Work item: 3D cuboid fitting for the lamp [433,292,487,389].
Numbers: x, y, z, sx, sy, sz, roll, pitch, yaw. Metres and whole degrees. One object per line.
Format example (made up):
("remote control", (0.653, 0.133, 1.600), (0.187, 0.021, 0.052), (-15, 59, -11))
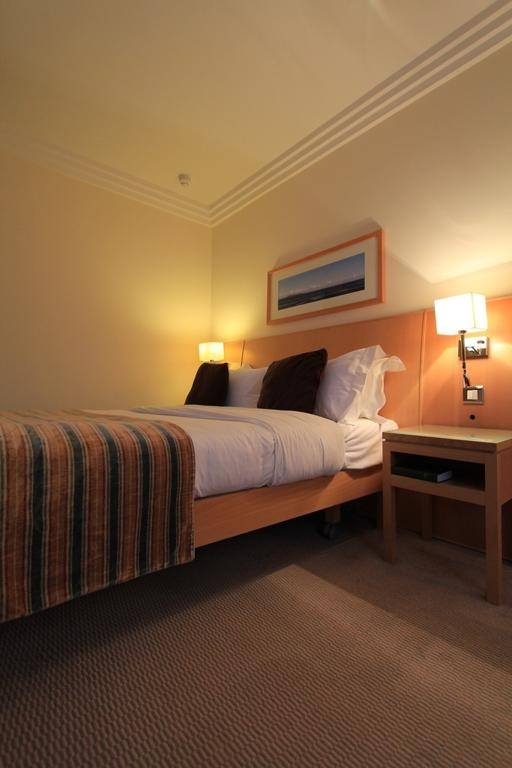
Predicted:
("lamp", (0.875, -0.179, 2.270), (0.210, 0.404, 0.253), (4, 7, 29))

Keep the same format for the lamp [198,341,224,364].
("lamp", (-0.341, -0.244, 4.040), (0.193, 0.214, 0.165), (0, 6, 21))
